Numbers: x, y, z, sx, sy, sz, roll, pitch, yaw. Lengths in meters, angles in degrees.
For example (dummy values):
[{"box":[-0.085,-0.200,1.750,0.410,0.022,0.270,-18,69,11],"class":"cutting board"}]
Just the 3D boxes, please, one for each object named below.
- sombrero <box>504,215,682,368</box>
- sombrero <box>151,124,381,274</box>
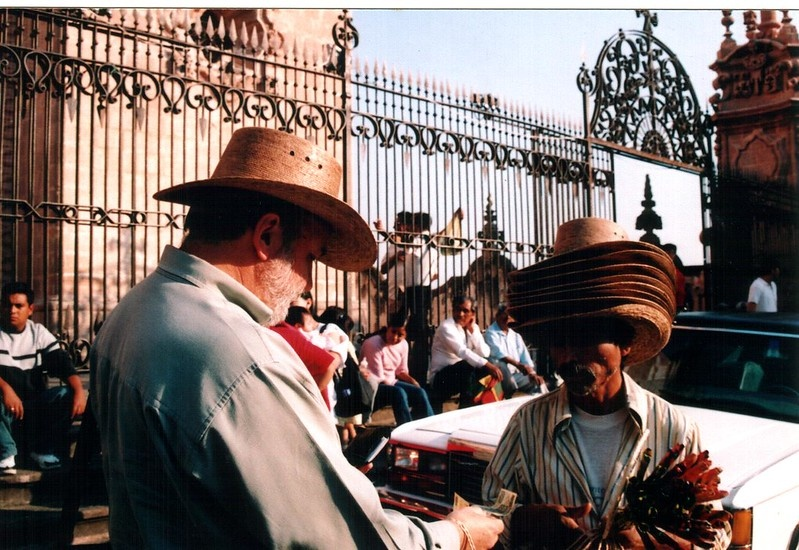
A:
[{"box":[1.584,0.088,9.824,1.218,0.671,1.112,26,-39,-33],"class":"sombrero"},{"box":[-0.949,-0.418,9.486,1.301,0.567,1.152,27,-17,-21],"class":"sombrero"}]
